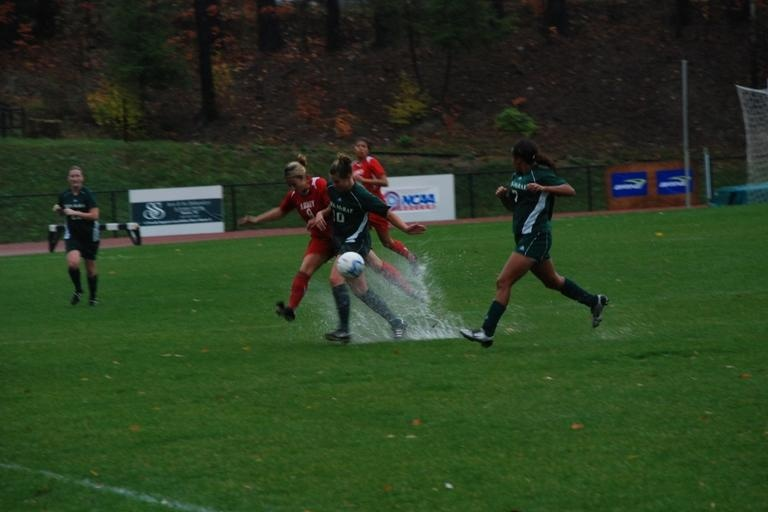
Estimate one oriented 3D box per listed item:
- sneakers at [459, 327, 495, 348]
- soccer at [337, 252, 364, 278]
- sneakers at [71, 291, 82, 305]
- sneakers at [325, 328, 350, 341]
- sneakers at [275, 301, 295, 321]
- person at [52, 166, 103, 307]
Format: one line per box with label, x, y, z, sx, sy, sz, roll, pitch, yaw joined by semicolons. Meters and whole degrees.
sneakers;1.410;1.181;13.847;0.625;0.231;0.195;19;0;-3
soccer;-0.489;0.136;14.542;0.518;0.355;0.415;-5;5;-3
sneakers;-5.644;0.792;17.192;0.161;0.285;0.138;17;29;-11
sneakers;-0.683;1.242;14.661;0.388;0.135;0.170;11;-27;-5
sneakers;-1.547;0.884;14.912;0.419;0.201;0.167;28;4;7
person;-5.607;-0.387;17.289;0.733;2.495;1.085;-6;8;-17
